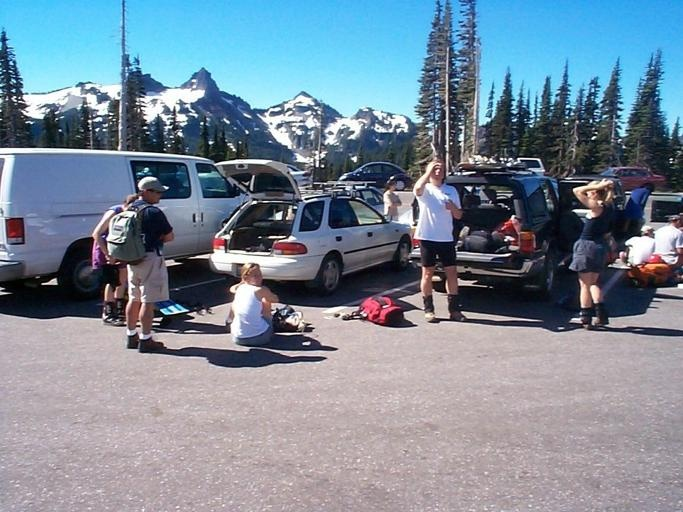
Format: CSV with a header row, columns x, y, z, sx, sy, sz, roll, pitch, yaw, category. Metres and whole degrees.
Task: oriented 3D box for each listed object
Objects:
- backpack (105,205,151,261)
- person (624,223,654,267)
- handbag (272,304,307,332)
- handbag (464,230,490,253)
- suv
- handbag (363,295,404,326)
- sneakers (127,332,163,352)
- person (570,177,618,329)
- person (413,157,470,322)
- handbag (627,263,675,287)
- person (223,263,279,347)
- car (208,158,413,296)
x,y,z,sx,sy,sz,roll,pitch,yaw,category
-2.717,-0.269,7.359,0.456,0.742,0.438,-1,7,-18,backpack
6.071,-0.184,11.879,0.576,0.727,1.237,4,6,24,person
-0.751,0.896,8.343,0.537,0.165,0.351,7,11,21,handbag
2.215,-0.244,9.562,0.482,0.330,0.303,3,-8,6,handbag
3.086,-0.585,10.441,2.642,1.189,3.365,6,15,37,suv
0.598,0.832,8.875,0.420,0.355,0.662,-3,6,-35,handbag
-2.509,1.104,7.505,0.384,0.112,0.309,4,4,38,sneakers
3.734,-0.036,8.553,0.598,2.147,0.526,-4,9,-38,person
1.501,-0.235,8.874,0.819,2.438,0.477,3,7,9,person
6.110,0.366,11.442,0.818,0.322,0.547,2,-5,-32,handbag
-1.162,0.634,7.715,0.579,1.081,0.347,1,7,-5,person
-0.316,-0.646,11.682,2.095,1.537,4.345,15,17,33,car
